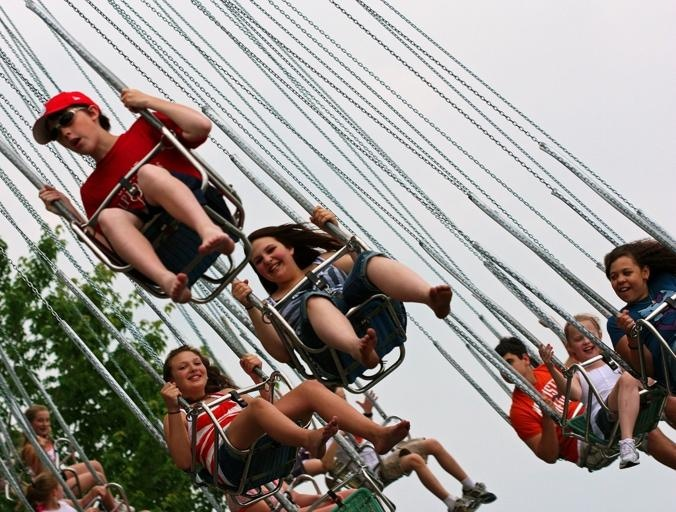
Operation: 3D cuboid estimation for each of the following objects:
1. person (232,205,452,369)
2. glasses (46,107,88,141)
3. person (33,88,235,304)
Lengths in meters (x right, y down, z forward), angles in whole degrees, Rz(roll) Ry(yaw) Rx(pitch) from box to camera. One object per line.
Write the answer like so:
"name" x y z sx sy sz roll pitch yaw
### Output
"person" -0.062 0.224 7.826 0.533 0.975 0.798 -51 2 -19
"glasses" -1.739 -0.847 8.274 0.216 0.090 0.220 -24 17 31
"person" -1.216 -0.382 7.796 0.806 1.473 0.853 -56 -24 6
